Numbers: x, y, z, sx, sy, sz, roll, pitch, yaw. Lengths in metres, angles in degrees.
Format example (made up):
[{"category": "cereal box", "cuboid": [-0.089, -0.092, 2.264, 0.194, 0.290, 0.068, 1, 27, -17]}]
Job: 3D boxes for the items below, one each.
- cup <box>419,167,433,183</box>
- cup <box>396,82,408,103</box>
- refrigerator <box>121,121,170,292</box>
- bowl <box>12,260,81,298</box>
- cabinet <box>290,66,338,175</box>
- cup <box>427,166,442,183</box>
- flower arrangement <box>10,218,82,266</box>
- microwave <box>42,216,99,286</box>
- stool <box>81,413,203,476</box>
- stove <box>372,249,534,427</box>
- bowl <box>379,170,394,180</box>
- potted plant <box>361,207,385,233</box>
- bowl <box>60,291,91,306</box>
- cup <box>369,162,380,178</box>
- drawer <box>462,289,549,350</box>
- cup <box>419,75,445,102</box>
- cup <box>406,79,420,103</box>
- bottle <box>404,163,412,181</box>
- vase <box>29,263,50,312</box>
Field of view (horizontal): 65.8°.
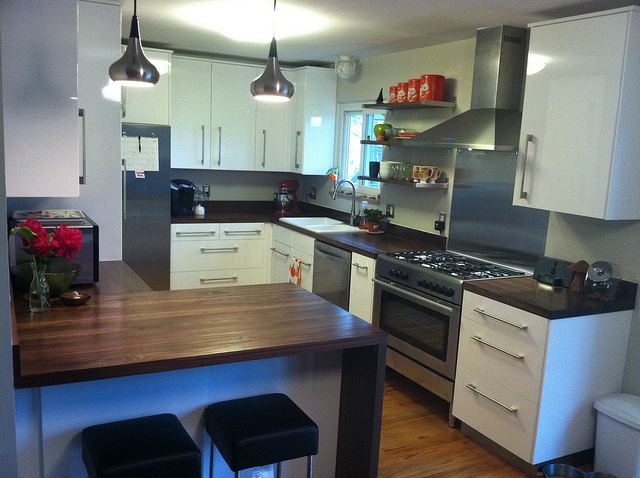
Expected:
[{"category": "cup", "cuboid": [0.885, -0.556, 4.177, 0.136, 0.137, 0.093, 2, 5, 17]}, {"category": "cup", "cuboid": [0.710, -1.270, 4.261, 0.090, 0.181, 0.194, 4, 11, 3]}, {"category": "refrigerator", "cuboid": [-1.776, -0.240, 5.051, 0.562, 1.735, 0.443, -1, -1, -20]}, {"category": "bowl", "cuboid": [-1.395, 0.206, 2.559, 0.332, 0.136, 0.326, 2, 8, 0]}, {"category": "cabinet", "cuboid": [-0.074, -1.305, 5.593, 0.419, 1.162, 0.541, -4, 14, -24]}, {"category": "cup", "cuboid": [0.974, -0.548, 4.196, 0.134, 0.133, 0.114, 3, 7, 23]}, {"category": "flower arrangement", "cuboid": [-1.364, 0.030, 2.437, 0.271, 0.208, 0.298, 12, 9, 20]}, {"category": "microwave", "cuboid": [-1.400, 0.049, 2.867, 0.325, 0.335, 0.477, -3, 22, -27]}, {"category": "stool", "cuboid": [-0.727, 0.854, 2.012, 0.409, 0.130, 0.331, -3, 13, -28]}, {"category": "stove", "cuboid": [0.963, 0.668, 3.906, 0.706, 1.011, 0.892, -2, 11, -31]}, {"category": "bowl", "cuboid": [0.594, -0.594, 4.506, 0.073, 0.075, 0.165, -5, 14, -35]}, {"category": "potted plant", "cuboid": [0.520, -0.202, 4.901, 0.216, 0.236, 0.233, -2, 6, -2]}, {"category": "bowl", "cuboid": [-1.200, 0.271, 2.439, 0.095, 0.038, 0.087, 1, 5, 0]}, {"category": "cup", "cuboid": [0.512, -0.652, 4.669, 0.112, 0.130, 0.114, 3, 13, -1]}, {"category": "drawer", "cuboid": [1.135, 0.485, 3.098, 0.037, 0.195, 0.599, -5, 14, -35]}, {"category": "cup", "cuboid": [0.939, -1.269, 4.143, 0.210, 0.206, 0.132, 5, 12, 10]}, {"category": "cup", "cuboid": [0.802, -1.274, 4.206, 0.087, 0.181, 0.122, 2, 11, -7]}, {"category": "bottle", "cuboid": [0.779, -0.590, 4.340, 0.059, 0.136, 0.120, 2, 11, -2]}, {"category": "vase", "cuboid": [-1.333, 0.227, 2.353, 0.082, 0.210, 0.091, -5, 14, -33]}]
